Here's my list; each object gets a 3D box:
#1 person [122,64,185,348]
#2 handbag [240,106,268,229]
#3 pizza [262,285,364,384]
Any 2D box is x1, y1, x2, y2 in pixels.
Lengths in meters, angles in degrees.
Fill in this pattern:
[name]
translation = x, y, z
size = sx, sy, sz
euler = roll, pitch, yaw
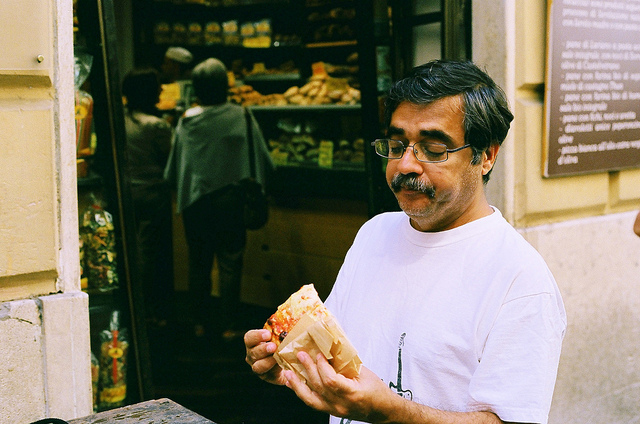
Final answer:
[person]
translation = -1.209, -0.015, 4.917
size = 0.341, 2.081, 0.208
euler = -5, 9, -23
[handbag]
translation = -0.523, -0.329, 5.213
size = 0.201, 0.925, 0.128
euler = -4, 9, -14
[pizza]
translation = 0.005, 0.626, 3.307
size = 0.450, 0.463, 0.204
euler = -36, -20, 23
